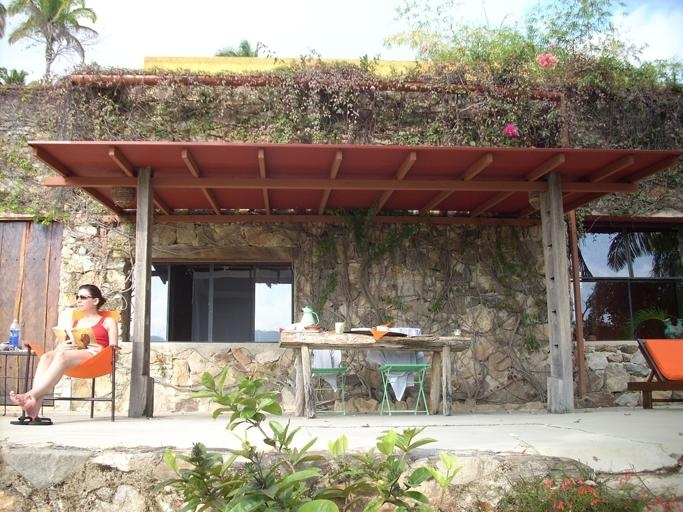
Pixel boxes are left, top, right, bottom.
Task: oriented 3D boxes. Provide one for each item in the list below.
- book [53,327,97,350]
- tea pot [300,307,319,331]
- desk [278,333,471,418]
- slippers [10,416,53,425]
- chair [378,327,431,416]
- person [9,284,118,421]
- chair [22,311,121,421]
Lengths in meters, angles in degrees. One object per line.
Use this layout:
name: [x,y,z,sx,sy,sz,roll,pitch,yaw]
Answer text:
book: [-2.722,0.823,5.990,0.436,0.223,0.126,4,27,6]
tea pot: [-0.354,0.731,6.957,0.322,0.352,0.234,0,-5,2]
desk: [0.382,1.381,6.832,2.135,0.929,0.770,1,-4,0]
slippers: [-2.872,1.534,5.441,0.198,0.044,0.170,1,-8,-1]
chair: [0.723,1.414,6.969,0.546,0.787,0.578,4,-12,-7]
person: [-2.801,0.928,5.863,0.644,1.461,1.400,-13,-19,8]
chair: [-2.756,1.108,6.110,0.796,1.162,1.248,2,-11,-20]
